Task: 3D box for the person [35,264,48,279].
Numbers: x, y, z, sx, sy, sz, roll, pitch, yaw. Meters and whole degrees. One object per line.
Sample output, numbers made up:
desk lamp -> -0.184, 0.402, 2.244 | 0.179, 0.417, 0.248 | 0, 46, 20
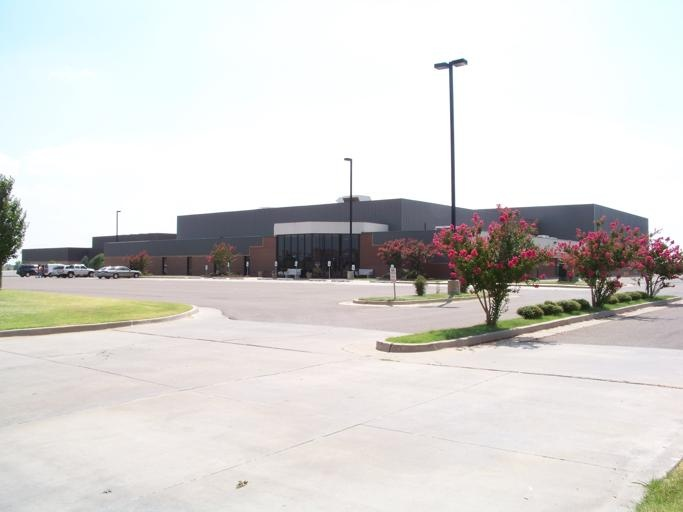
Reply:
person -> -44.057, 2.315, 81.578 | 0.870, 1.660, 1.715 | 1, -4, -16
